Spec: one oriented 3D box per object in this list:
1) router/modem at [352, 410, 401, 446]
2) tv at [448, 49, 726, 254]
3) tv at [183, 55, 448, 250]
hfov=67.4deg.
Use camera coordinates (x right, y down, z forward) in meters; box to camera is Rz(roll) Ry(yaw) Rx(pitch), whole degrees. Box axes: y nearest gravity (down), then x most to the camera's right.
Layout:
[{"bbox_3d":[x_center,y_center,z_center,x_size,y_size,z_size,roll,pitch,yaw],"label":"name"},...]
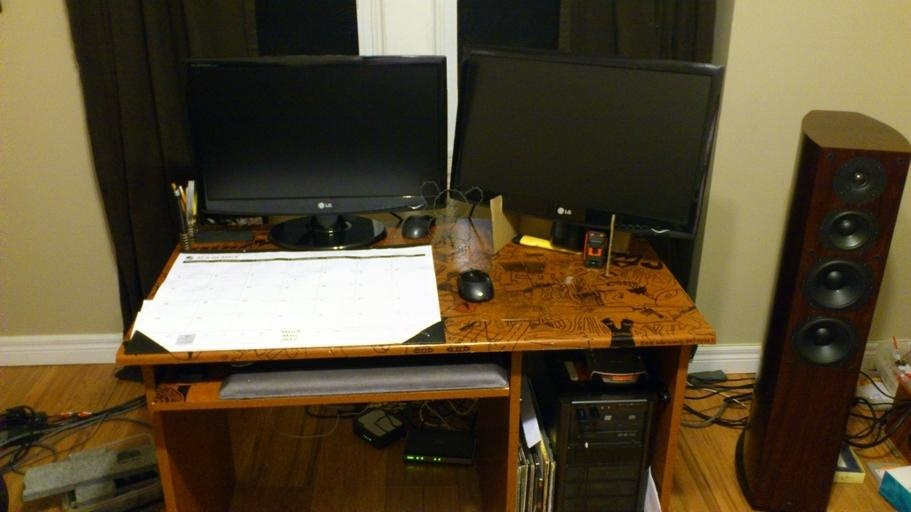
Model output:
[{"bbox_3d":[-0.364,0.836,3.397,0.175,0.061,0.167,30,42,31],"label":"router/modem"},{"bbox_3d":[0.531,-0.450,2.891,0.968,0.616,0.218,9,27,13],"label":"tv"},{"bbox_3d":[-0.596,-0.467,2.970,0.928,0.585,0.321,-1,19,-2],"label":"tv"}]
